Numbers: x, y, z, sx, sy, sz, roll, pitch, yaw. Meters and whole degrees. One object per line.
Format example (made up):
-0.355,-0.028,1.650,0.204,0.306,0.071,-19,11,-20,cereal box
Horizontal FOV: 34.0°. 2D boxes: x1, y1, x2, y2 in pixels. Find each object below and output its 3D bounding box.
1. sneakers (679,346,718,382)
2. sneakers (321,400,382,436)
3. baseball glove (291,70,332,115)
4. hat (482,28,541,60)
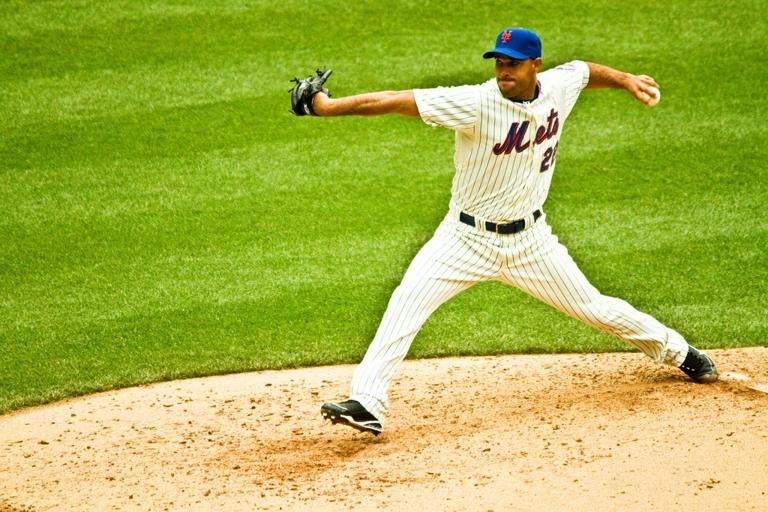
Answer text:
2.663,0.920,10.719,0.373,0.218,0.157,34,3,12,sneakers
-0.241,1.318,10.329,0.486,0.248,0.228,29,-18,-21,sneakers
-0.617,-1.383,10.436,0.369,0.373,0.195,4,-1,1,baseball glove
1.047,-1.728,10.246,0.418,0.176,0.271,0,6,-27,hat
